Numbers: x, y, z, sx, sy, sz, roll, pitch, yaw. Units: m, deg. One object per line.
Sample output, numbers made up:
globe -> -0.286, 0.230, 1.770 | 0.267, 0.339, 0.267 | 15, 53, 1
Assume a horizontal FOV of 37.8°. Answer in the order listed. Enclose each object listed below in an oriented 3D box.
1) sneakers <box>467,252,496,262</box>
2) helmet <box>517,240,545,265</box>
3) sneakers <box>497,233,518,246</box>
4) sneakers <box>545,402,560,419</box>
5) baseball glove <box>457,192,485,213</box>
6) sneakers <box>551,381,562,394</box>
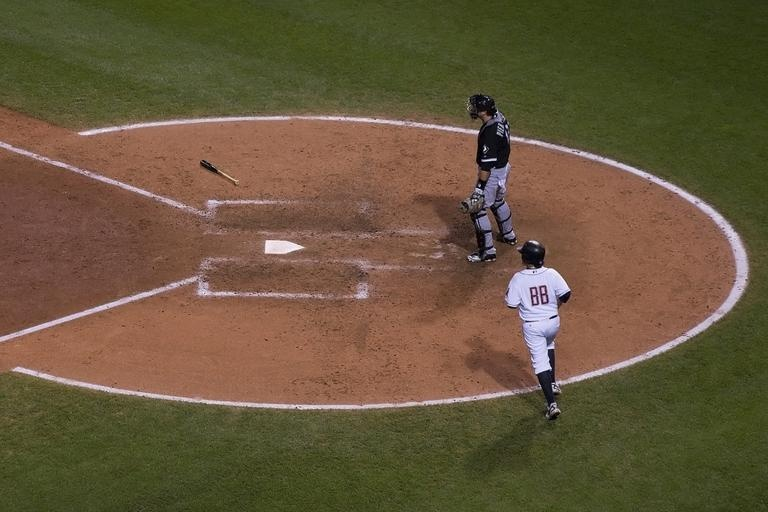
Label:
sneakers -> 2.204, 0.053, 25.152 | 0.683, 0.219, 0.194 | 3, 43, 0
helmet -> 2.948, -0.061, 22.382 | 0.556, 0.416, 0.572 | -7, 31, -21
sneakers -> 2.813, -0.363, 25.491 | 0.643, 0.161, 0.203 | 8, -30, 8
sneakers -> 3.371, 3.117, 22.273 | 0.243, 0.179, 0.447 | 0, 15, -2
baseball glove -> 1.938, -1.098, 24.624 | 0.590, 0.354, 0.534 | -27, -4, -14
sneakers -> 3.518, 2.717, 22.814 | 0.179, 0.128, 0.346 | -4, 10, -1
